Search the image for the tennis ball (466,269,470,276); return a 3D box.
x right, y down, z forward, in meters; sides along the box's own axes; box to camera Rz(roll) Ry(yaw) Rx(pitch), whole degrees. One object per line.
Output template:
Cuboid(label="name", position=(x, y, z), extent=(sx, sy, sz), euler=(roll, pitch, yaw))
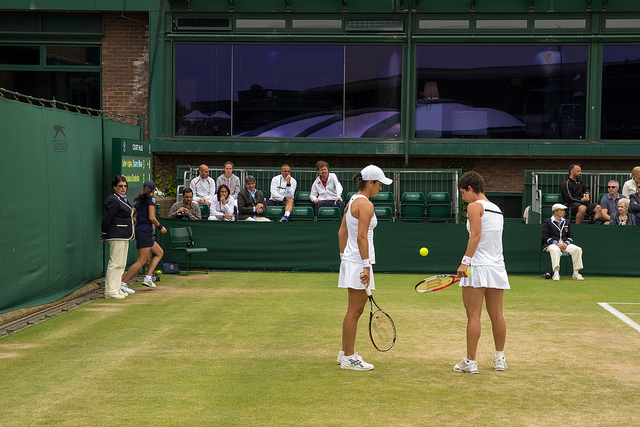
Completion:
Cuboid(label="tennis ball", position=(2.739, 1.095, 14.295), extent=(0.063, 0.095, 0.029), euler=(3, -6, -2))

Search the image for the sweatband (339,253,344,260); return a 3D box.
Cuboid(label="sweatband", position=(0.420, 0.805, 14.593), extent=(0.041, 0.110, 0.139), euler=(-2, 14, -9))

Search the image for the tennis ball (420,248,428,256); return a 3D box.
Cuboid(label="tennis ball", position=(2.863, 1.085, 21.380), extent=(0.198, 0.129, 0.206), euler=(2, 6, 0))

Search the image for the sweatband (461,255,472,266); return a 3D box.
Cuboid(label="sweatband", position=(2.705, 0.873, 14.267), extent=(0.151, 0.122, 0.146), euler=(0, 5, 3))

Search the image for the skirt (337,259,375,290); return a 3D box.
Cuboid(label="skirt", position=(0.672, 1.161, 14.394), extent=(0.530, 0.634, 0.613), euler=(0, 0, -2))

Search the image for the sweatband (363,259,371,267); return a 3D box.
Cuboid(label="sweatband", position=(0.860, 0.922, 14.269), extent=(0.116, 0.113, 0.123), euler=(6, -10, -37))

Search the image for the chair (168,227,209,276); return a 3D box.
Cuboid(label="chair", position=(-3.809, 1.080, 22.168), extent=(0.912, 1.356, 0.845), euler=(-1, -1, 36))

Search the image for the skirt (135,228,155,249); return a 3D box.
Cuboid(label="skirt", position=(-4.494, 0.677, 19.817), extent=(0.401, 0.694, 0.534), euler=(-3, 1, -7))
